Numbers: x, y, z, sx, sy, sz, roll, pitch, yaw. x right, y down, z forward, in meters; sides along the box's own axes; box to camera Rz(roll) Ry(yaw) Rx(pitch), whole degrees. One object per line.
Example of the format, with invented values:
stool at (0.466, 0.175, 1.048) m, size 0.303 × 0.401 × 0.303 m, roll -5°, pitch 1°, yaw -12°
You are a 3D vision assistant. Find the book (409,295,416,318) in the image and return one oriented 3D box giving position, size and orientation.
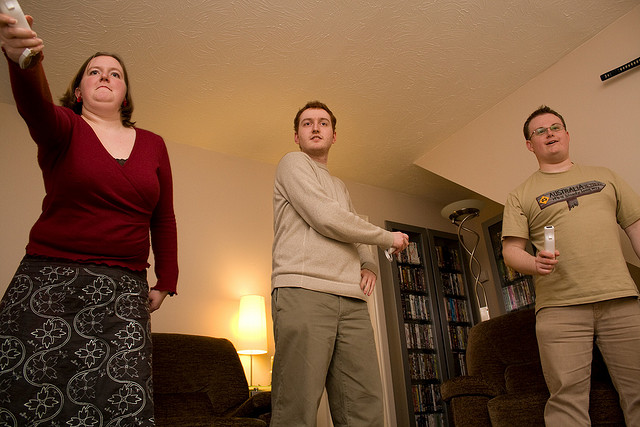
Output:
book at (1.017, 1.012, 4.549) m, size 0.074 × 0.245 × 0.016 m, roll 20°, pitch -32°, yaw -37°

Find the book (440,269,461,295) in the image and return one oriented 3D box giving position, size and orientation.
book at (1.552, 0.806, 4.873) m, size 0.045 × 0.355 × 0.385 m, roll -7°, pitch -2°, yaw -26°

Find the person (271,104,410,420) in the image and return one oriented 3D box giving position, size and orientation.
person at (0.058, 0.109, 1.941) m, size 0.562 × 1.531 × 0.353 m, roll 3°, pitch -25°, yaw -7°

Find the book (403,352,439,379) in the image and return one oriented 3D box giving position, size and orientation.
book at (1.086, 1.645, 4.485) m, size 0.428 × 0.302 × 0.235 m, roll 11°, pitch -32°, yaw -15°

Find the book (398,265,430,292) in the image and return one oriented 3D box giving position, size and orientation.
book at (1.038, 0.752, 4.727) m, size 0.346 × 0.297 × 0.122 m, roll 10°, pitch -30°, yaw -19°

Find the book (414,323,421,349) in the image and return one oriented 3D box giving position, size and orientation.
book at (1.048, 1.312, 4.456) m, size 0.064 × 0.246 × 0.013 m, roll 16°, pitch -30°, yaw -32°

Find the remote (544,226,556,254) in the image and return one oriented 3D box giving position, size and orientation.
remote at (1.061, 0.124, 1.919) m, size 0.049 × 0.097 × 0.114 m, roll -14°, pitch -28°, yaw 27°

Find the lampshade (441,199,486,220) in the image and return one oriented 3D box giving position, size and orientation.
lampshade at (1.530, -0.101, 4.510) m, size 0.407 × 0.171 × 0.215 m, roll -10°, pitch -27°, yaw 20°

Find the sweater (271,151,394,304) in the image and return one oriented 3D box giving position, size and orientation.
sweater at (0.047, 0.039, 1.917) m, size 0.522 × 0.692 × 0.256 m, roll 3°, pitch -25°, yaw -8°

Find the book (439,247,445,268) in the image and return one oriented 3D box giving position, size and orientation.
book at (1.466, 0.519, 5.001) m, size 0.050 × 0.250 × 0.015 m, roll 18°, pitch -31°, yaw -34°
